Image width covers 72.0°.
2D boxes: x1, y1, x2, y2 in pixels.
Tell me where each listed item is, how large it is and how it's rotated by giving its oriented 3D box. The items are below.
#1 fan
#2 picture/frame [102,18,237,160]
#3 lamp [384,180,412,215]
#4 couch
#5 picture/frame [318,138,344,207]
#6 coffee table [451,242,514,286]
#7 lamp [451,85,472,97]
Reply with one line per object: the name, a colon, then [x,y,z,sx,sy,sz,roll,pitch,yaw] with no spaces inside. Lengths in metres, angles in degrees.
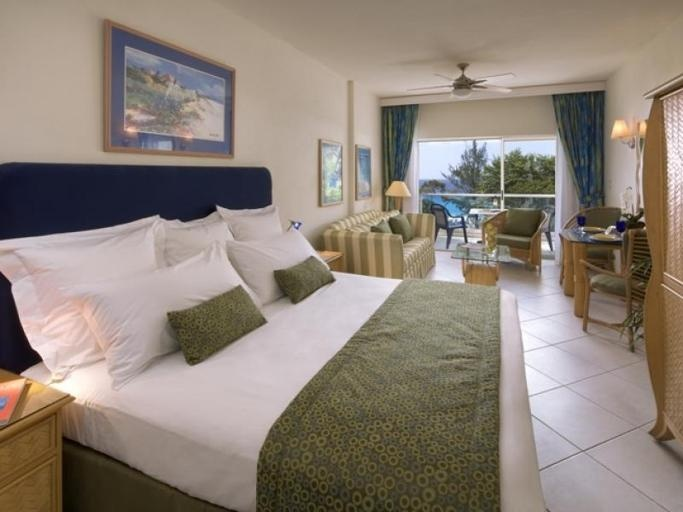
fan: [1.558,-2.333,6.159,0.563,0.232,0.655,-5,9,-21]
picture/frame: [-1.309,-1.234,3.459,0.049,0.932,1.258,3,1,27]
lamp: [1.007,-0.989,8.052,0.453,0.880,0.484,3,7,36]
couch: [0.714,-0.126,6.199,0.719,0.869,1.607,3,15,27]
picture/frame: [-0.151,-1.075,6.102,0.055,0.853,0.774,-7,11,-27]
coffee table: [1.569,0.077,5.285,0.501,0.406,0.550,1,5,21]
lamp: [1.457,-1.991,5.697,0.217,0.105,0.312,2,12,14]
